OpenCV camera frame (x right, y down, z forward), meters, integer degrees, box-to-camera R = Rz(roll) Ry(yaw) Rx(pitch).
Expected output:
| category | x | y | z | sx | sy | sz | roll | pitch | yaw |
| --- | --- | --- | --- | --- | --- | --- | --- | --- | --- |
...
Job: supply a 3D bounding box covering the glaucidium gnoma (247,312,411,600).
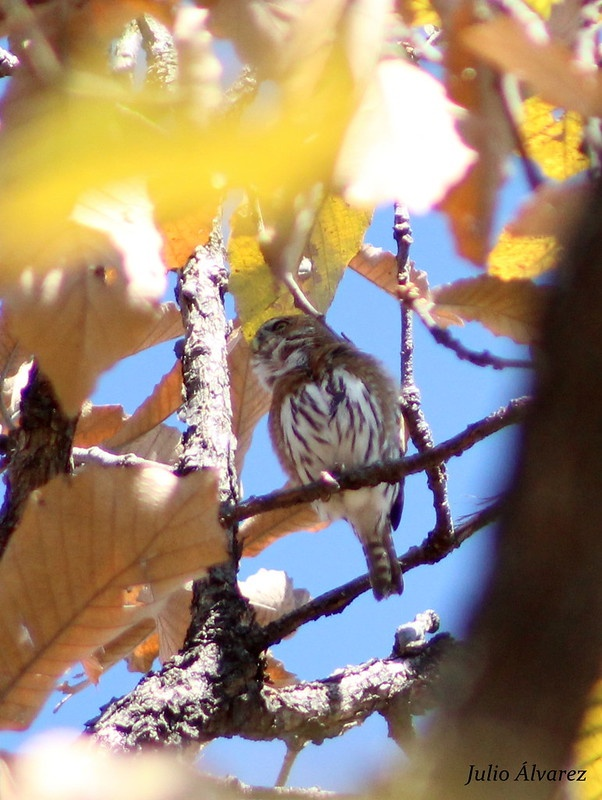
| category | x | y | z | sx | sy | sz | roll | pitch | yaw |
| --- | --- | --- | --- | --- | --- | --- | --- | --- | --- |
| glaucidium gnoma | 0.081 | 0.125 | 4.214 | 0.347 | 0.715 | 0.441 | -27 | 12 | 12 |
